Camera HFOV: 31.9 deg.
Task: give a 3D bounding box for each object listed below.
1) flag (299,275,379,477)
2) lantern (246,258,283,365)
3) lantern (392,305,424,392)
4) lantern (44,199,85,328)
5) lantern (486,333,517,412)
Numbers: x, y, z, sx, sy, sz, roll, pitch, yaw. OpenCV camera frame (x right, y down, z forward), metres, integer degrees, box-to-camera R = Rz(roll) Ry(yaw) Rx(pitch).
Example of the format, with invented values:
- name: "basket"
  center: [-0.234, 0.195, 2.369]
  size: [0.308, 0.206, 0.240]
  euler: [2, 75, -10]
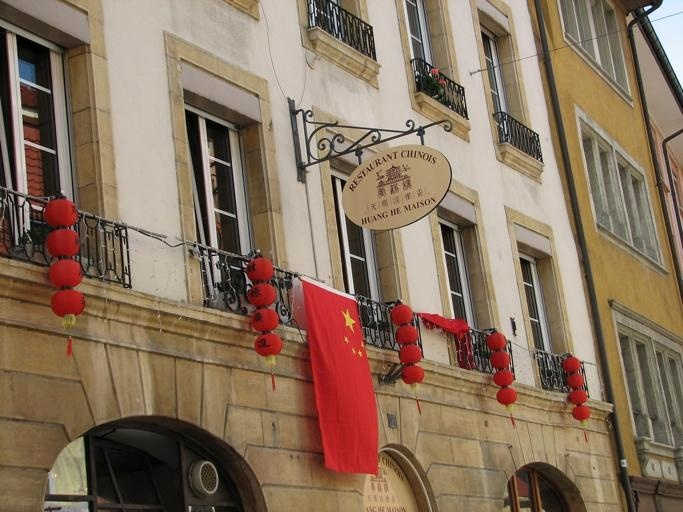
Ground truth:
- name: "flag"
  center: [-0.067, 1.522, 14.387]
  size: [0.239, 2.284, 1.300]
  euler: [-14, -20, 27]
- name: "lantern"
  center: [-0.845, 0.603, 13.471]
  size: [0.355, 1.247, 0.347]
  euler: [4, -2, -35]
- name: "lantern"
  center: [0.847, 1.133, 15.166]
  size: [0.285, 1.220, 0.352]
  euler: [-7, -17, -2]
- name: "lantern"
  center: [-2.711, 0.057, 11.752]
  size: [0.376, 1.295, 0.408]
  euler: [3, 1, -42]
- name: "lantern"
  center: [2.312, 1.628, 17.011]
  size: [0.308, 1.292, 0.357]
  euler: [-3, -24, -20]
